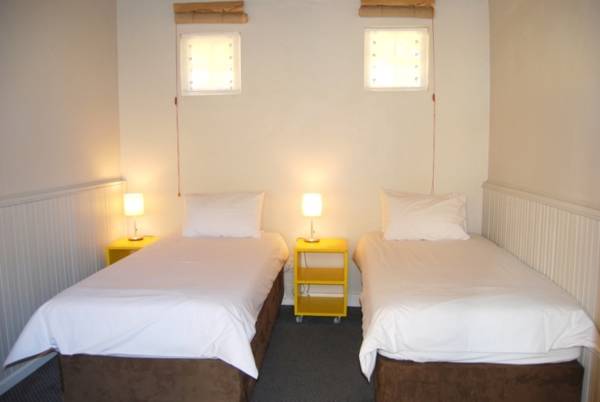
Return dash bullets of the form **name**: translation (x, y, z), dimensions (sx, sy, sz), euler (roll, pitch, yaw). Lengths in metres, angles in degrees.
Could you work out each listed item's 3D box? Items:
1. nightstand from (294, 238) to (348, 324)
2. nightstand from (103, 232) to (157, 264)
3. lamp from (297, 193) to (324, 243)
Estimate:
- **nightstand**: translation (0.227, 0.814, 4.996), dimensions (0.565, 0.773, 0.613), euler (0, 9, 6)
- **nightstand**: translation (-1.817, 0.491, 5.047), dimensions (0.427, 0.422, 0.295), euler (1, 19, 2)
- **lamp**: translation (0.132, 0.172, 5.086), dimensions (0.235, 0.515, 0.327), euler (-1, 9, 0)
